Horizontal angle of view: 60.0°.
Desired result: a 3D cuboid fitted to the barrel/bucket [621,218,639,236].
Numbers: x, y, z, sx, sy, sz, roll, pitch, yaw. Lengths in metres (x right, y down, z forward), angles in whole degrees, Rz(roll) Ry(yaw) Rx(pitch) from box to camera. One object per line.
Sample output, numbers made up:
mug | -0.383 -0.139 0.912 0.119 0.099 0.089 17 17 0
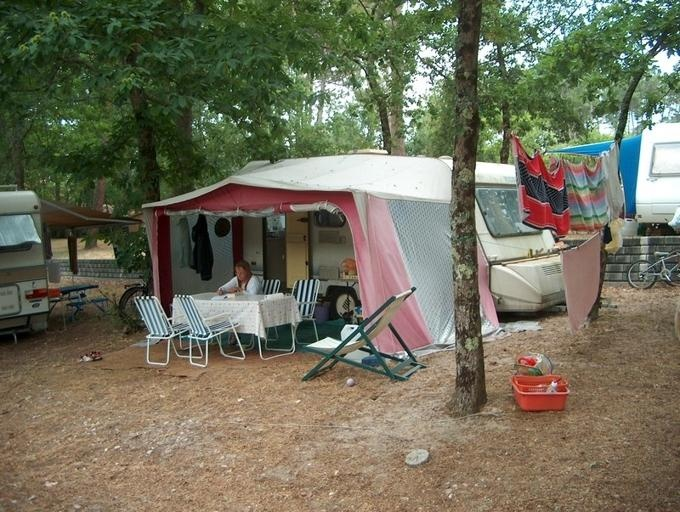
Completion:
barrel/bucket | 6.900 -0.706 13.871 0.417 0.505 0.549 4 9 25

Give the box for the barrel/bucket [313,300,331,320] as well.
barrel/bucket | -0.350 1.097 12.047 0.304 0.326 0.302 1 4 0

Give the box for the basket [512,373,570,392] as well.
basket | 2.319 1.468 6.868 0.359 0.092 0.276 -2 5 2
